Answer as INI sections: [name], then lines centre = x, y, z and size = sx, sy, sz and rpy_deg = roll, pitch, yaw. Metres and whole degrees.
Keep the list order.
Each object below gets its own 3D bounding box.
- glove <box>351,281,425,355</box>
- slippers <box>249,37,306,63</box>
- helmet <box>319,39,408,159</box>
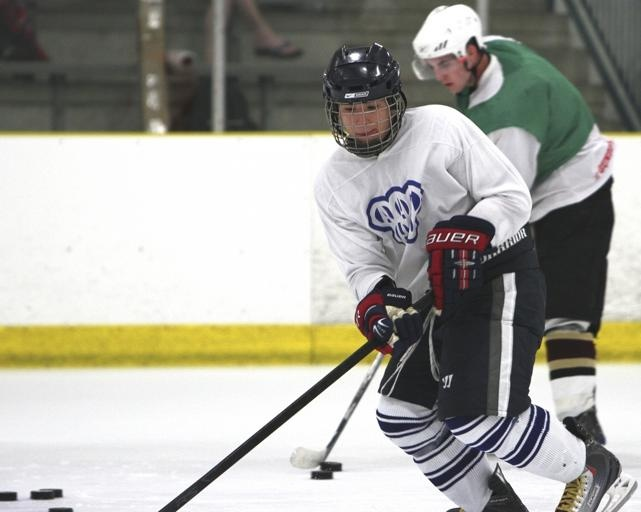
[glove]
centre = 0.238, 0.221, 4.437
size = 0.237, 0.234, 0.104
rpy_deg = -43, -17, -10
[slippers]
centre = -0.223, -1.083, 6.630
size = 0.211, 0.057, 0.109
rpy_deg = 1, 36, -3
[helmet]
centre = 0.179, -0.585, 4.519
size = 0.306, 0.386, 0.389
rpy_deg = -7, 33, 19
